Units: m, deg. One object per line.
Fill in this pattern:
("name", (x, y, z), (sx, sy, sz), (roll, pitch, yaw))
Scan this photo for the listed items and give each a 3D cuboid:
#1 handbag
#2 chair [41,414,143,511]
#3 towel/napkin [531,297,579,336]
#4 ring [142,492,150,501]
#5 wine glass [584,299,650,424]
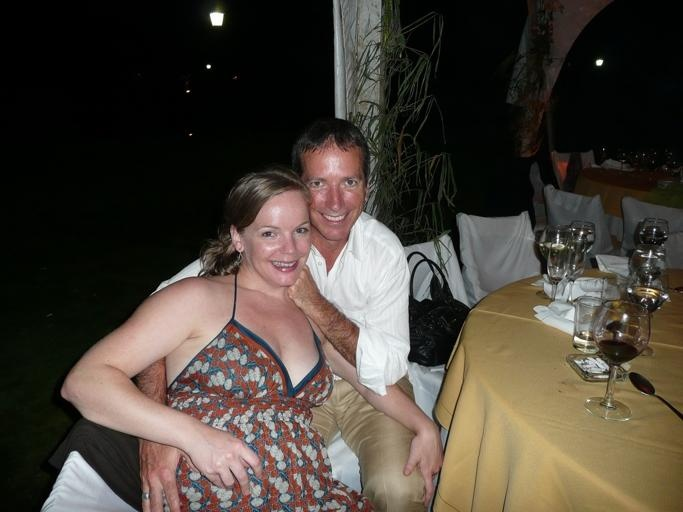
("handbag", (0.531, 0.303, 2.962), (0.205, 0.494, 0.361), (-19, 23, 28))
("chair", (-0.916, 0.820, 2.048), (0.242, 0.362, 0.147), (-5, 9, -24))
("towel/napkin", (0.974, 0.266, 2.395), (0.129, 0.053, 0.139), (14, 31, 35))
("ring", (-0.754, 0.923, 2.030), (0.027, 0.032, 0.025), (4, -5, 0))
("wine glass", (1.047, 0.405, 1.997), (0.177, 0.437, 0.189), (22, -22, 5))
